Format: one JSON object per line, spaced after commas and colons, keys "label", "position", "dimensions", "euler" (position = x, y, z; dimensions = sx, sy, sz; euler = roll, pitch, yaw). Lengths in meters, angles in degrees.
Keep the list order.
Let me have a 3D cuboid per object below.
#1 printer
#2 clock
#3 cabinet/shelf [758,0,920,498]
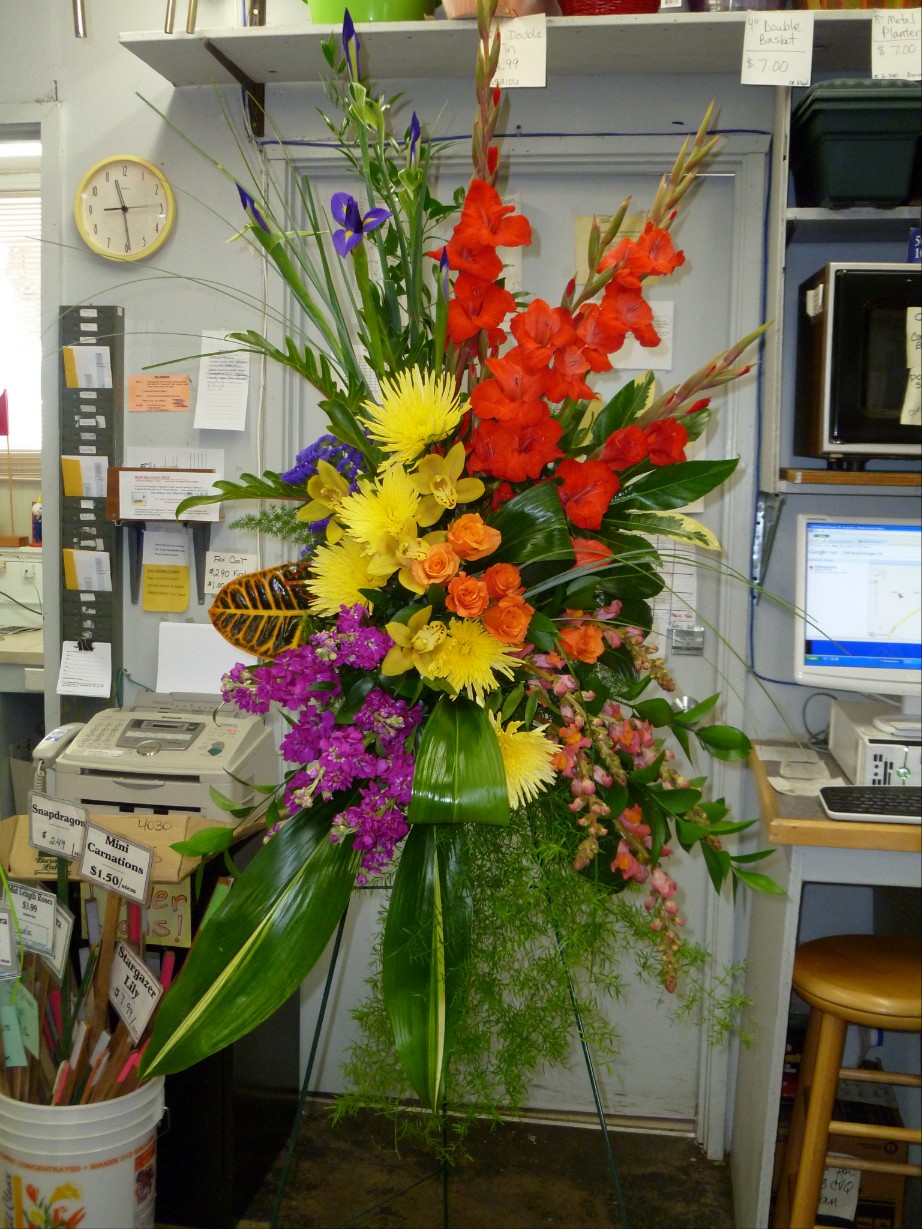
{"label": "printer", "position": [-0.576, 0.272, 1.831], "dimensions": [0.342, 0.151, 0.458], "euler": [2, 1, 7]}
{"label": "clock", "position": [-0.759, -0.917, 2.175], "dimensions": [0.249, 0.236, 0.022], "euler": [6, 9, 13]}
{"label": "cabinet/shelf", "position": [0.698, -0.669, 1.829], "dimensions": [0.266, 0.863, 0.561], "euler": [3, 2, 22]}
